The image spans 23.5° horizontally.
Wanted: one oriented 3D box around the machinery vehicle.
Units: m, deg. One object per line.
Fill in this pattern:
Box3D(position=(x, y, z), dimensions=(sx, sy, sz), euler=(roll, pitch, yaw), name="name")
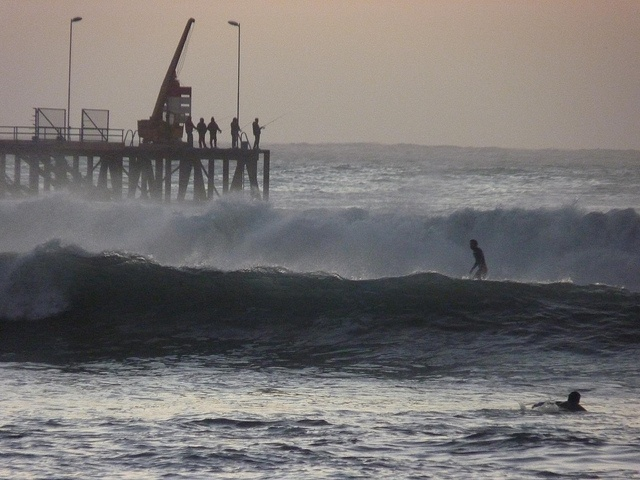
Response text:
Box3D(position=(-5.185, -5.086, 53.618), dimensions=(1.487, 3.542, 2.652), euler=(5, 6, 21), name="machinery vehicle")
